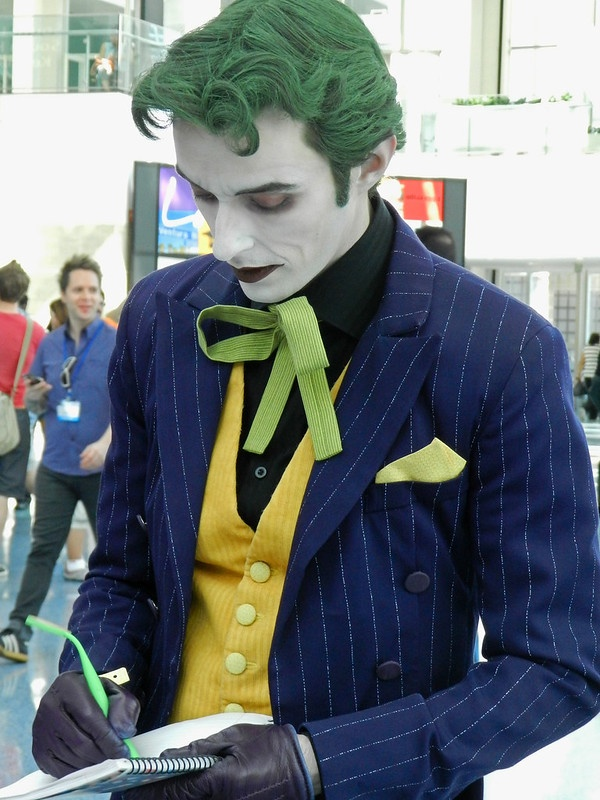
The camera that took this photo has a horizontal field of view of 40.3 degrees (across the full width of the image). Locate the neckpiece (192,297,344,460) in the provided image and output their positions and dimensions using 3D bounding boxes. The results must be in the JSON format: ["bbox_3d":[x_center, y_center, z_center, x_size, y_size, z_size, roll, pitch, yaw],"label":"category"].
[{"bbox_3d":[-0.030,-0.029,0.917,0.156,0.189,0.060,-7,-23,34],"label":"neckpiece"}]

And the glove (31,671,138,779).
[{"bbox_3d":[-0.233,0.340,0.868,0.091,0.114,0.050,-29,-26,-13],"label":"glove"}]

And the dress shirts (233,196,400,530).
[{"bbox_3d":[0.049,-0.037,1.041,0.192,0.375,0.082,8,-11,35],"label":"dress shirts"}]
